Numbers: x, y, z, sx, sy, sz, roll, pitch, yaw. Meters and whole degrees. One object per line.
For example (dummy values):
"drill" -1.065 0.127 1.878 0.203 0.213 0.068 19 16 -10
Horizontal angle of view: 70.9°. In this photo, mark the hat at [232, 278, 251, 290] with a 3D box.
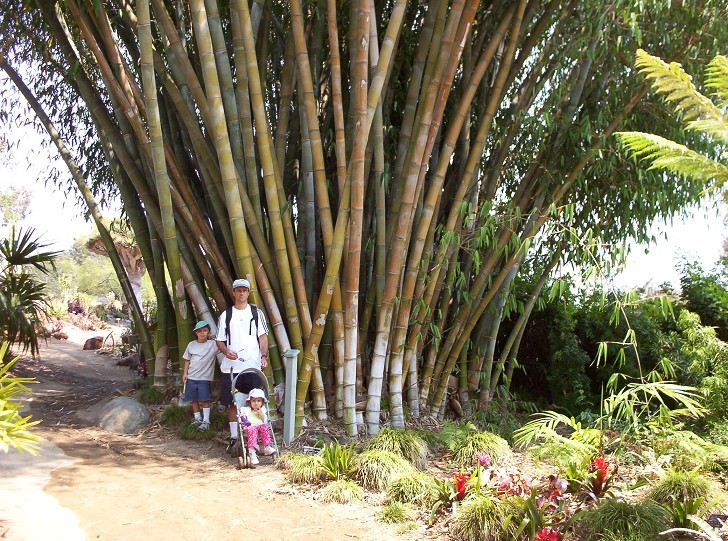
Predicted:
"hat" -0.990 0.106 4.192 0.122 0.127 0.316 6 -10 -10

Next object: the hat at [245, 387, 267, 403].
"hat" -0.818 0.959 3.949 0.149 0.102 0.167 7 -10 -12
